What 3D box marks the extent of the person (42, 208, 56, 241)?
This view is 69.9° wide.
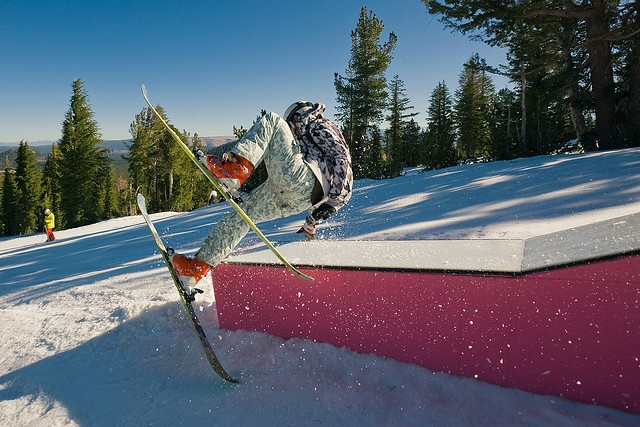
[{"bbox_3d":[-8.274,0.363,14.011,0.279,0.906,1.336,-11,8,-31],"label":"person"}]
